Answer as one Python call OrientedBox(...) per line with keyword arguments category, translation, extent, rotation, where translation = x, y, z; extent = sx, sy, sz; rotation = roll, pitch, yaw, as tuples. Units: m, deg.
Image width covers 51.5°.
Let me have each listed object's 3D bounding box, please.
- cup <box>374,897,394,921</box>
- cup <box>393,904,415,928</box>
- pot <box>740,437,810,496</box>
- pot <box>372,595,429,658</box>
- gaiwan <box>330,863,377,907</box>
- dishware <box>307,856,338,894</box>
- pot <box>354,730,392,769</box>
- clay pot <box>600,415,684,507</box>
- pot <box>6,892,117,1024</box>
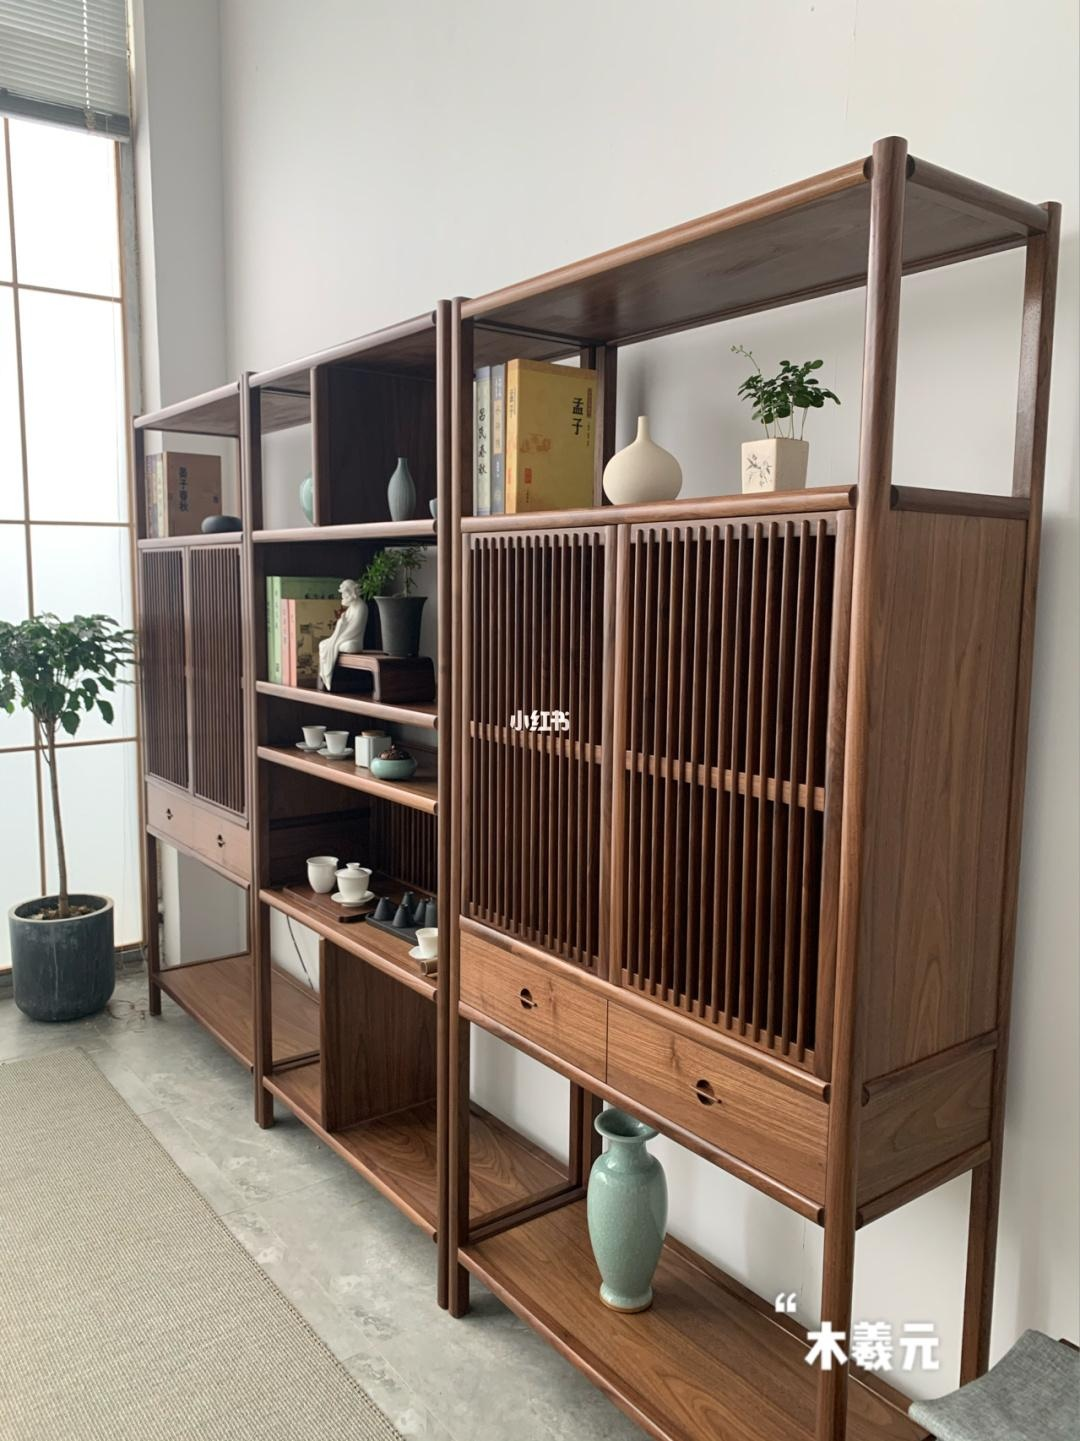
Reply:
OrientedBox(category="cup", translation=(-0.344, 0.420, 2.515), extent=(0.040, 0.042, 0.043), rotation=(4, 6, 0))
OrientedBox(category="cup", translation=(-0.295, 0.425, 2.442), extent=(0.045, 0.044, 0.042), rotation=(0, -7, 0))
OrientedBox(category="pot", translation=(0.305, -0.331, 1.452), extent=(0.077, 0.069, 0.078), rotation=(0, 6, 0))
OrientedBox(category="pot", translation=(-0.297, -0.200, 2.445), extent=(0.131, 0.138, 0.127), rotation=(2, 16, 0))
OrientedBox(category="gaiwan", translation=(-0.437, 0.388, 2.663), extent=(0.093, 0.080, 0.094), rotation=(-7, 13, -33))
OrientedBox(category="dishware", translation=(-0.526, 0.379, 2.763), extent=(0.071, 0.073, 0.086), rotation=(-4, 13, -27))
OrientedBox(category="pot", translation=(-0.366, 0.061, 2.490), extent=(0.079, 0.114, 0.080), rotation=(0, 9, 0))
OrientedBox(category="clay pot", translation=(0.146, -0.375, 1.600), extent=(0.111, 0.149, 0.235), rotation=(0, 6, 5))
OrientedBox(category="pot", translation=(-1.487, 0.731, 3.586), extent=(0.364, 0.401, 0.375), rotation=(0, 3, 0))
